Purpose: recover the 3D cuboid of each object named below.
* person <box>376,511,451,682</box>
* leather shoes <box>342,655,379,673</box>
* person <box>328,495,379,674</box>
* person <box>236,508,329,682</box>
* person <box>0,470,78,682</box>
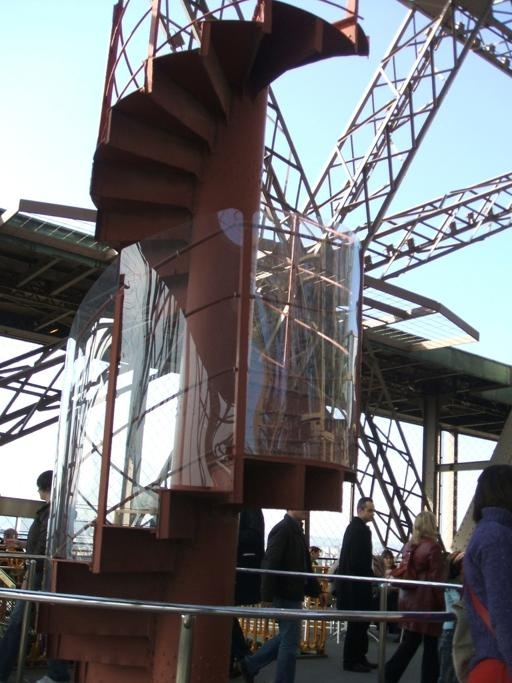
[{"bbox_3d":[1.385,2.202,5.415,0.539,1.472,1.089,-3,-19,16],"label":"person"},{"bbox_3d":[1.069,3.209,6.241,0.376,0.109,0.239,11,-20,-24],"label":"leather shoes"},{"bbox_3d":[1.017,2.416,6.399,0.396,1.704,0.742,0,-19,9],"label":"person"},{"bbox_3d":[0.235,2.112,5.291,0.620,1.416,1.385,1,-19,6],"label":"person"},{"bbox_3d":[-1.818,1.912,5.378,0.540,1.743,1.376,8,-19,-17],"label":"person"}]
